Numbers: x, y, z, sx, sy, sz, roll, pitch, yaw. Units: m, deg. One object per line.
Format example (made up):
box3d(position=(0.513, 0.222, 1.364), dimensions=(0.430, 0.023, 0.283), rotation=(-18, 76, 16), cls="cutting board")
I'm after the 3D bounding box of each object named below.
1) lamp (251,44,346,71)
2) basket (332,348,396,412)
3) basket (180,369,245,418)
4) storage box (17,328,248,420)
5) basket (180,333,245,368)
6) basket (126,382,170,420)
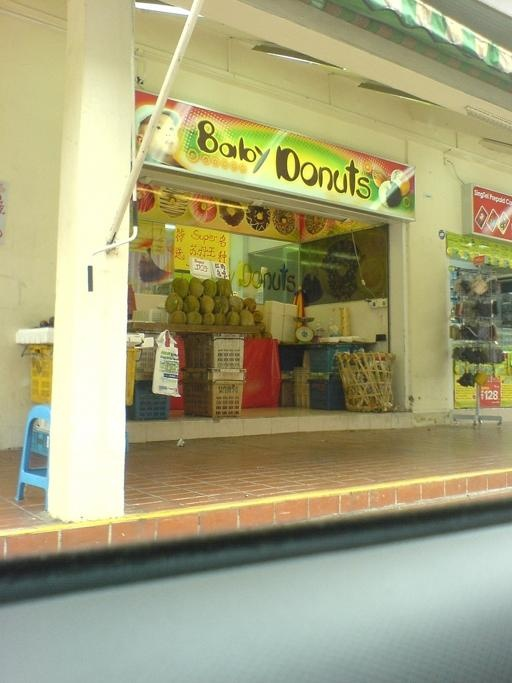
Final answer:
box3d(position=(0.458, -3.307, 6.284), dimensions=(1.009, 0.141, 0.342), rotation=(3, -7, -18), cls="lamp")
box3d(position=(1.458, 0.469, 7.536), dimensions=(0.726, 0.847, 0.626), rotation=(-2, 3, -30), cls="basket")
box3d(position=(-0.553, 0.589, 6.346), dimensions=(0.465, 0.511, 0.824), rotation=(0, 1, -34), cls="basket")
box3d(position=(-1.346, 0.192, 4.514), dimensions=(1.125, 0.565, 0.764), rotation=(1, -2, -38), cls="storage box")
box3d(position=(-0.527, 0.097, 6.495), dimensions=(0.401, 0.364, 0.581), rotation=(2, 0, -33), cls="basket")
box3d(position=(-1.129, 0.645, 5.820), dimensions=(0.529, 0.504, 0.357), rotation=(6, -11, -37), cls="basket")
